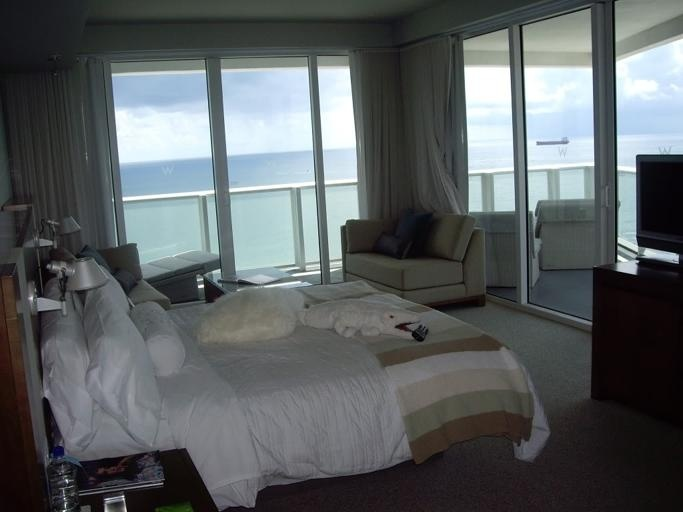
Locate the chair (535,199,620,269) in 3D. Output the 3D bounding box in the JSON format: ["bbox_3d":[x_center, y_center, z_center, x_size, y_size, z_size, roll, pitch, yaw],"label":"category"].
[{"bbox_3d":[2.268,-0.197,4.882,0.486,0.604,0.596,0,8,8],"label":"chair"}]

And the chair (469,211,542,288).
[{"bbox_3d":[1.858,-0.064,5.756,0.810,0.994,0.750,1,6,25],"label":"chair"}]

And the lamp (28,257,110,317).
[{"bbox_3d":[-1.111,0.124,2.021,0.281,0.221,0.177,-7,15,-32],"label":"lamp"}]
